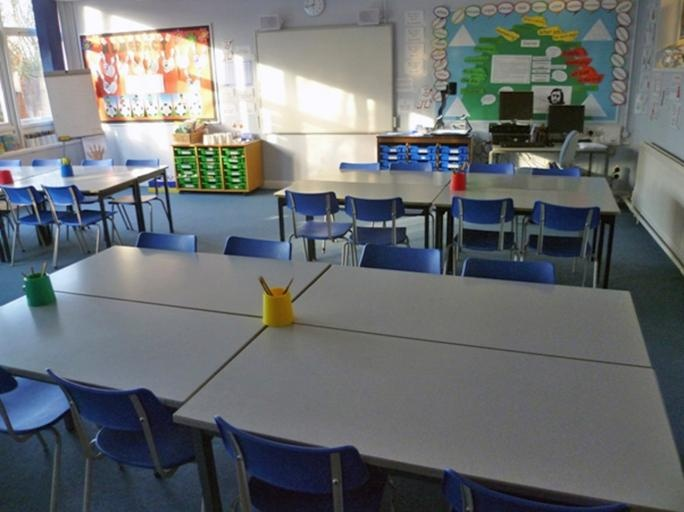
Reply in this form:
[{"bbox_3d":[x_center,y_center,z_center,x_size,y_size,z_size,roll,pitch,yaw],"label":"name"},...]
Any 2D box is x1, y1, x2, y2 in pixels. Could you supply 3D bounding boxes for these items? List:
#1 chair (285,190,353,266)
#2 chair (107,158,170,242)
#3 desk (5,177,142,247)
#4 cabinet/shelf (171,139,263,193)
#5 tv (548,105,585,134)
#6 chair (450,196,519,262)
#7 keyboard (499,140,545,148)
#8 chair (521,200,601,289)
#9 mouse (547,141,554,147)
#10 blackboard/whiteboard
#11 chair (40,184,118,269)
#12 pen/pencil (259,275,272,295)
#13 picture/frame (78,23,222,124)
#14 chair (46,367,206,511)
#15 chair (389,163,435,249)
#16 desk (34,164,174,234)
[{"bbox_3d":[-0.165,-0.275,4.726,0.533,0.793,0.556,6,23,21],"label":"chair"},{"bbox_3d":[-2.506,-0.692,6.359,0.469,0.890,0.541,2,21,-6],"label":"chair"},{"bbox_3d":[-2.944,-0.465,5.622,0.708,0.378,0.421,12,28,20],"label":"desk"},{"bbox_3d":[-2.052,-1.442,8.299,1.128,0.729,0.584,-1,21,-4],"label":"cabinet/shelf"},{"bbox_3d":[2.991,-1.828,6.878,0.485,0.467,0.177,5,20,18],"label":"tv"},{"bbox_3d":[1.181,-0.222,4.293,0.335,0.585,0.382,4,43,16],"label":"chair"},{"bbox_3d":[2.339,-1.440,6.747,0.549,0.059,0.190,8,21,21],"label":"keyboard"},{"bbox_3d":[1.751,-0.098,4.172,0.614,0.797,0.539,1,23,5],"label":"chair"},{"bbox_3d":[2.763,-1.474,6.837,0.092,0.024,0.092,8,58,27],"label":"mouse"},{"bbox_3d":[-0.163,-2.631,7.578,1.608,1.231,0.068,3,20,11],"label":"blackboard/whiteboard"},{"bbox_3d":[-2.696,-0.299,5.257,0.530,0.975,0.645,5,29,6],"label":"chair"},{"bbox_3d":[-0.393,0.156,2.662,0.022,0.026,0.097,8,47,-42],"label":"pen/pencil"},{"bbox_3d":[-3.108,-2.774,8.334,1.984,1.316,0.023,-2,3,0],"label":"picture/frame"},{"bbox_3d":[-0.938,0.822,2.288,0.431,0.759,0.513,7,30,10],"label":"chair"},{"bbox_3d":[0.652,-0.367,5.057,0.289,0.581,0.341,3,29,11],"label":"chair"},{"bbox_3d":[-2.502,-0.790,5.571,0.908,0.653,1.007,6,23,10],"label":"desk"}]
